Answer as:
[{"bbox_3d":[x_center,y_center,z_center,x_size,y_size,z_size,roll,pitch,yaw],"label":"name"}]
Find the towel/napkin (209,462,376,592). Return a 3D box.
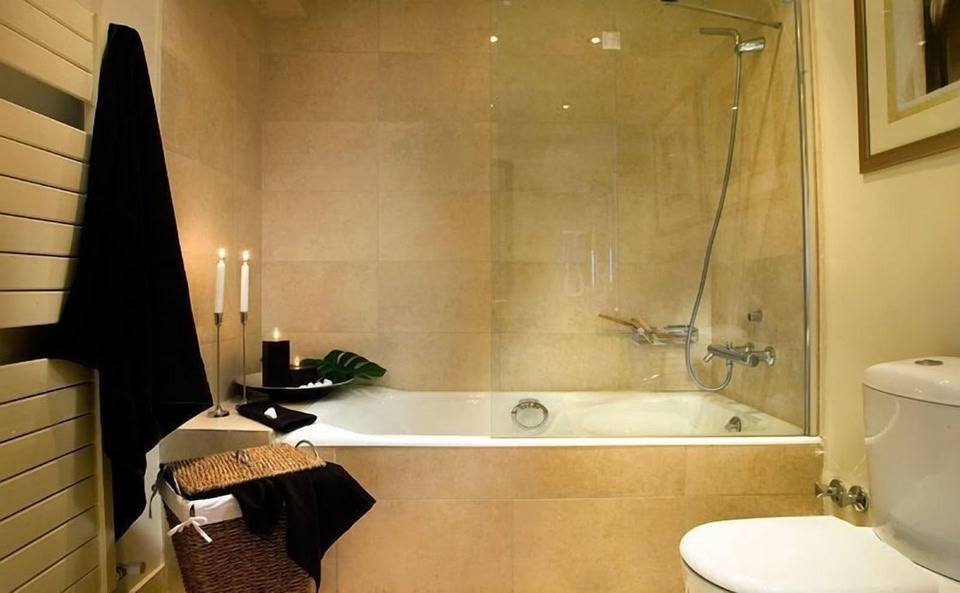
[{"bbox_3d":[-0.842,0.882,3.227,0.632,0.469,0.496,1,-1,-35],"label":"towel/napkin"}]

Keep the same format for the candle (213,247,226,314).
[{"bbox_3d":[-1.294,-0.073,3.535,0.056,0.296,0.052,2,0,-11],"label":"candle"}]

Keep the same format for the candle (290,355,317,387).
[{"bbox_3d":[-1.009,0.418,4.033,0.140,0.142,0.139,5,7,43],"label":"candle"}]
